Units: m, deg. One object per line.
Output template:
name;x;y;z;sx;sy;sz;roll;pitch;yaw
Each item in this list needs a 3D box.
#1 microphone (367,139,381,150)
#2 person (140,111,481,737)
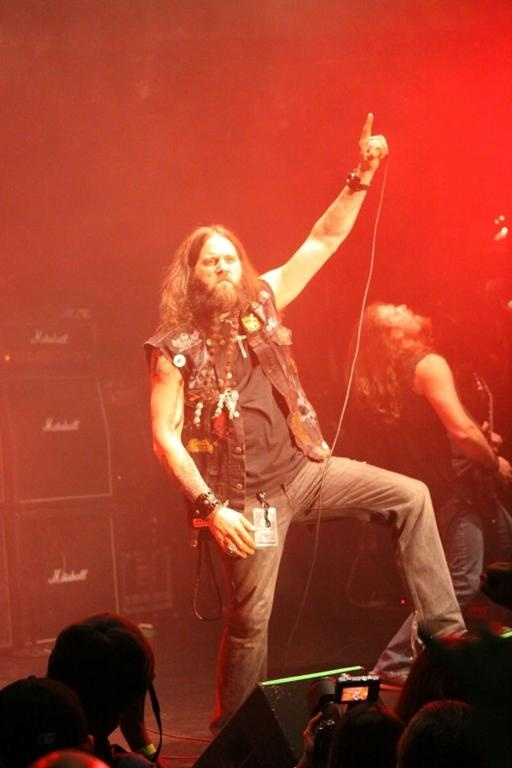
microphone;0.549;-1.102;3.311;0.051;0.044;0.018;3;-1;-12
person;0.176;0.333;3.180;1.176;2.544;0.793;-8;8;4
